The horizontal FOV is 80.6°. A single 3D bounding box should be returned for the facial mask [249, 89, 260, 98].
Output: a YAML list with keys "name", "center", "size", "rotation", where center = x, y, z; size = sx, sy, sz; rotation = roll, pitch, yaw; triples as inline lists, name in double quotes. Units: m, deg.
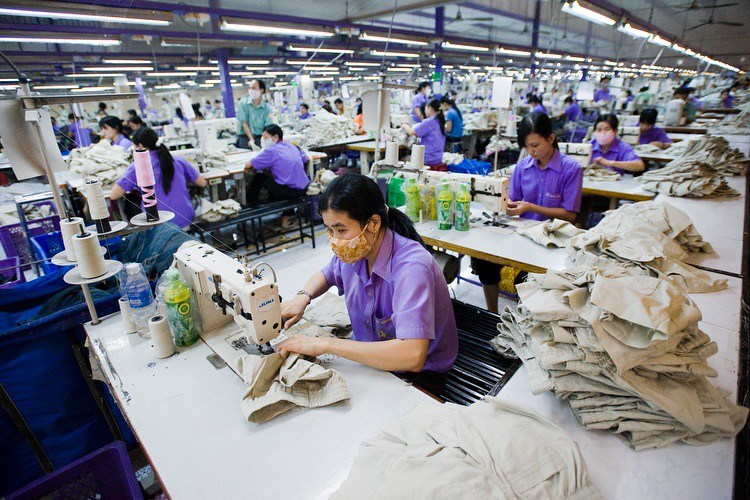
- name: "facial mask"
  center: [-2.092, -2.688, 7.662]
  size: [0.185, 0.153, 0.179]
  rotation: [14, 19, 41]

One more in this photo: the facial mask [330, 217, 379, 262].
- name: "facial mask"
  center: [-0.105, -0.044, 2.254]
  size: [0.262, 0.213, 0.184]
  rotation: [1, 11, -4]

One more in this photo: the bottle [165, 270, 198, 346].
- name: "bottle"
  center: [-1.055, 0.328, 2.521]
  size: [0.177, 0.403, 0.184]
  rotation: [1, 12, 0]

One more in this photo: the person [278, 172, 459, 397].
- name: "person"
  center: [-0.035, 0.218, 2.401]
  size: [0.644, 1.418, 0.770]
  rotation: [17, 28, 40]
